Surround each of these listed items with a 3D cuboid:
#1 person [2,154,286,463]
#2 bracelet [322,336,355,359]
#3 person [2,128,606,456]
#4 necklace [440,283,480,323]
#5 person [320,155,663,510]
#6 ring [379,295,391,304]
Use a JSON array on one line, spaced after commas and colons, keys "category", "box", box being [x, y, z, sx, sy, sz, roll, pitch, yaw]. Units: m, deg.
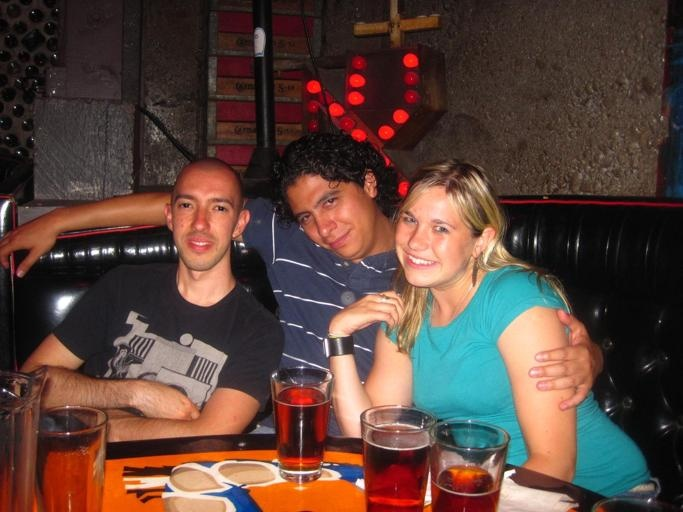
[{"category": "person", "box": [-0.694, 0.237, 2.282, 0.940, 1.216, 0.661, 12, 6, -12]}, {"category": "bracelet", "box": [-0.020, 0.312, 2.103, 0.091, 0.071, 0.103, 1, 3, 10]}, {"category": "person", "box": [-0.187, 0.139, 2.253, 1.468, 1.021, 0.491, 2, -9, 11]}, {"category": "necklace", "box": [0.429, 0.152, 2.135, 0.099, 0.171, 0.044, 29, 18, 17]}, {"category": "person", "box": [0.446, 0.310, 2.092, 0.995, 1.159, 1.104, 0, 5, 26]}, {"category": "ring", "box": [0.156, 0.151, 2.087, 0.029, 0.021, 0.029, 15, 20, -6]}]
